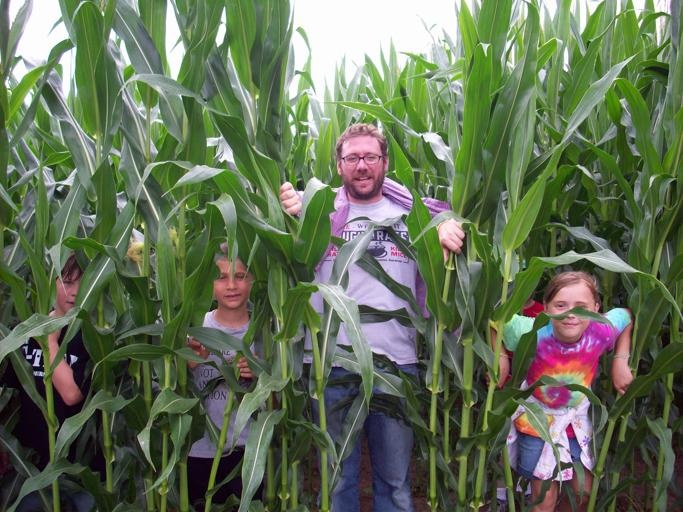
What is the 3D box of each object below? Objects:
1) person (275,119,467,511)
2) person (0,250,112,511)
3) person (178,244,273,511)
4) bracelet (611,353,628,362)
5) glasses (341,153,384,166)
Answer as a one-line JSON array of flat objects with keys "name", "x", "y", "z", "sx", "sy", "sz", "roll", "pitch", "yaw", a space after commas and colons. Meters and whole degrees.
[{"name": "person", "x": 0.110, "y": 0.203, "z": 2.483, "sx": 0.636, "sy": 1.687, "sz": 0.916, "roll": 2, "pitch": -13, "yaw": 2}, {"name": "person", "x": -1.133, "y": 0.531, "z": 2.358, "sx": 0.361, "sy": 1.238, "sz": 0.116, "roll": 13, "pitch": 16, "yaw": 0}, {"name": "person", "x": -0.462, "y": 0.500, "z": 2.424, "sx": 0.307, "sy": 1.056, "sz": 0.636, "roll": 4, "pitch": -14, "yaw": -8}, {"name": "bracelet", "x": 1.086, "y": 0.395, "z": 2.333, "sx": 0.055, "sy": 0.027, "sz": 0.032, "roll": 2, "pitch": -15, "yaw": 4}, {"name": "glasses", "x": 0.087, "y": -0.416, "z": 2.596, "sx": 0.166, "sy": 0.049, "sz": 0.039, "roll": 2, "pitch": -14, "yaw": 6}]
